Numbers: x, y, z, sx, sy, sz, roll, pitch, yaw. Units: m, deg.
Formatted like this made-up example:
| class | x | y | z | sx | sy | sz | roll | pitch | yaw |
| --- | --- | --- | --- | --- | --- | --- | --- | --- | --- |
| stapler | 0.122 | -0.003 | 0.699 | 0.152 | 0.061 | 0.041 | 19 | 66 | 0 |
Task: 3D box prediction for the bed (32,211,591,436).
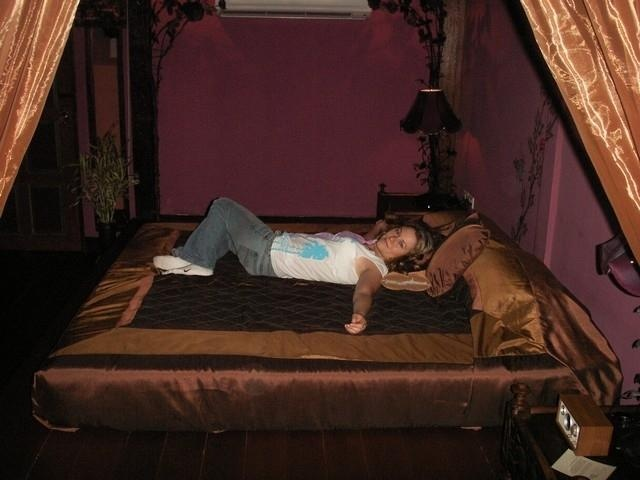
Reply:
| class | x | y | z | sx | sy | sz | roll | pitch | yaw |
| --- | --- | --- | --- | --- | --- | --- | --- | --- | --- |
| bed | -0.201 | 0.086 | 3.632 | 2.526 | 0.753 | 1.777 | 2 | 17 | 0 |
